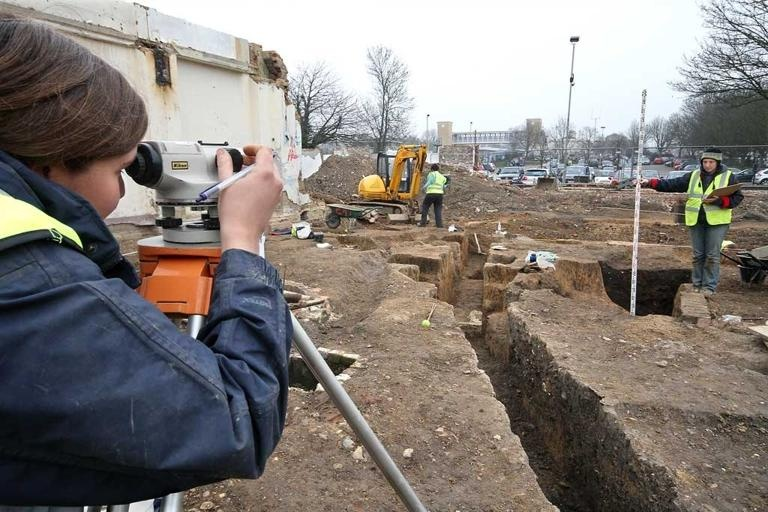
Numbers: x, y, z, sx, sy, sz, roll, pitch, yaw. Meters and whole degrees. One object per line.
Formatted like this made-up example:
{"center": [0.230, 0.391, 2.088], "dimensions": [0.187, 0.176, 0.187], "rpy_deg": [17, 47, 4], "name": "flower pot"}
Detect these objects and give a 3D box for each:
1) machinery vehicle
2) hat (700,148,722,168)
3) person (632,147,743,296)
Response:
{"center": [0.371, -2.023, 15.143], "dimensions": [2.001, 2.205, 1.783], "rpy_deg": [3, 6, 20], "name": "machinery vehicle"}
{"center": [4.073, -1.224, 6.626], "dimensions": [0.209, 0.191, 0.438], "rpy_deg": [8, 16, 29], "name": "hat"}
{"center": [3.970, -0.506, 6.903], "dimensions": [0.909, 2.399, 0.898], "rpy_deg": [0, 1, 28], "name": "person"}
